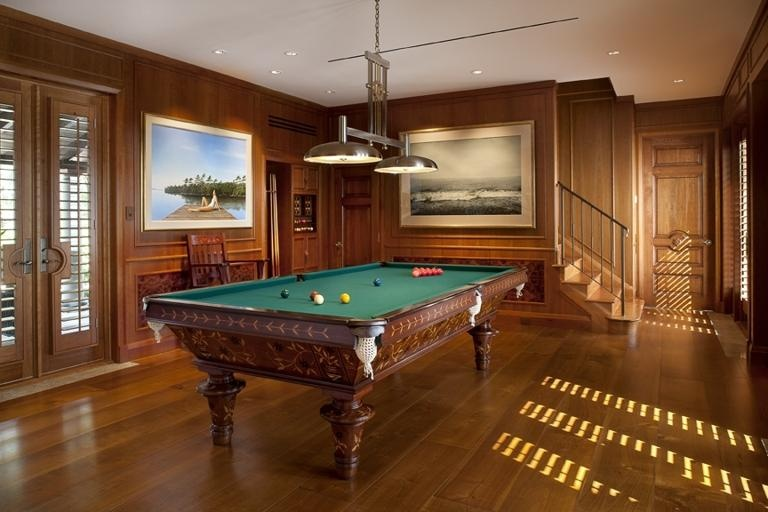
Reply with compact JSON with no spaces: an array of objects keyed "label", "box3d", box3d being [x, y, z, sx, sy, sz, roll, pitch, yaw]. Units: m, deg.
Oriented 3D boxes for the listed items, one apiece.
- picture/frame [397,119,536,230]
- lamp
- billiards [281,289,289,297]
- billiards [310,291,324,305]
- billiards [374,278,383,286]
[{"label":"picture/frame","box3d":[1.346,-1.263,7.179,2.037,1.295,0.073,1,3,28]},{"label":"lamp","box3d":[-0.108,-2.133,5.902,0.785,1.926,1.942,0,0,31]},{"label":"billiards","box3d":[-0.831,0.309,3.964,0.058,0.054,0.066,13,21,33]},{"label":"billiards","box3d":[-0.528,0.338,3.751,0.070,0.060,0.124,17,1,-13]},{"label":"billiards","box3d":[-0.064,0.254,4.584,0.067,0.045,0.064,5,11,25]}]
